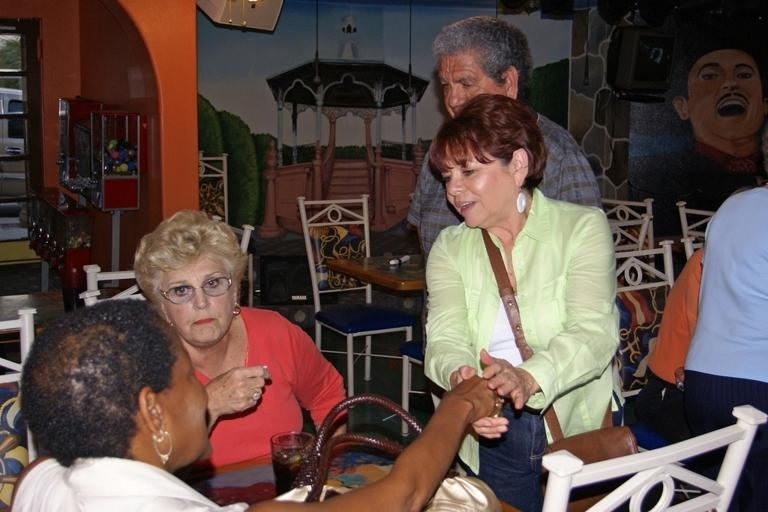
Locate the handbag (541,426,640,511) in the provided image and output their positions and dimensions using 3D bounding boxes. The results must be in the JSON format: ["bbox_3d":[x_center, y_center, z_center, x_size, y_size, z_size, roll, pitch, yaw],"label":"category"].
[{"bbox_3d":[0.687,0.664,1.912,0.343,0.264,0.155,-5,5,-33],"label":"handbag"}]
